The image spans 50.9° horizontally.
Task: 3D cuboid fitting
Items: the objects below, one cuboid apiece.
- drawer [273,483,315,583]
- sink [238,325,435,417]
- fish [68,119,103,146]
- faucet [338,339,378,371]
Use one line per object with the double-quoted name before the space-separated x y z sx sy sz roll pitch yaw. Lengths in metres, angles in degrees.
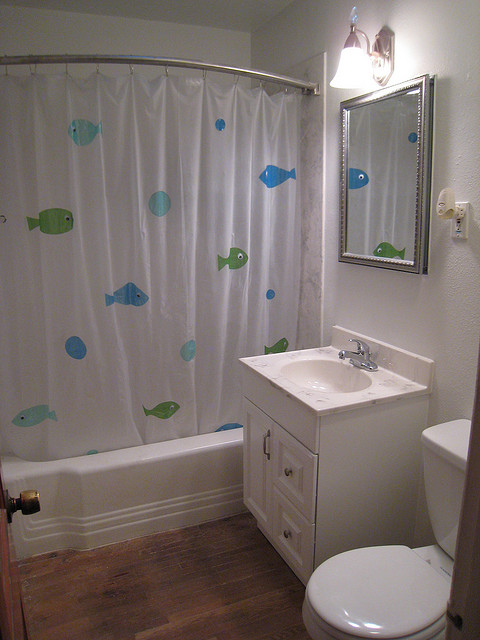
"drawer" 0.223 0.742 1.798 0.136 0.232 0.208 -7 19 -29
"sink" 0.327 0.204 1.882 0.501 0.205 0.625 -6 13 -23
"fish" -0.594 -0.716 1.923 0.075 0.075 0.020 -2 11 -10
"faucet" 0.465 0.130 1.997 0.061 0.131 0.201 -4 11 -29
